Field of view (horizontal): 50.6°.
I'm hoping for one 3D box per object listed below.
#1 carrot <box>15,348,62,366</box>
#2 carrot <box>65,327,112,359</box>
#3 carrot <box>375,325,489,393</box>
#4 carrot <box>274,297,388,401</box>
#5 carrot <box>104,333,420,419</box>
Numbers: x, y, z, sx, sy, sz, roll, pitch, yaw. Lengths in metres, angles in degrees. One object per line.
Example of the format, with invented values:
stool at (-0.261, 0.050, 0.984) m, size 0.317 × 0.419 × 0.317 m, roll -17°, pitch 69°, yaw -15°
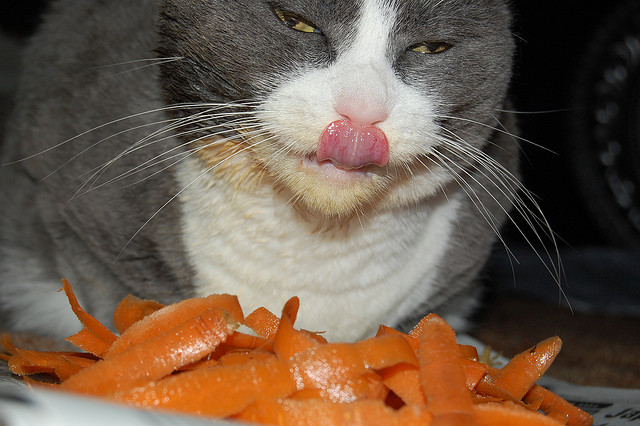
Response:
carrot at (-0.436, 0.224, 1.055) m, size 0.048 × 0.014 × 0.030 m, roll 26°, pitch 23°, yaw 11°
carrot at (-0.374, 0.205, 1.089) m, size 0.064 × 0.046 × 0.023 m, roll 40°, pitch -21°, yaw -18°
carrot at (0.204, 0.216, 1.093) m, size 0.124 × 0.045 × 0.120 m, roll 24°, pitch -6°, yaw 6°
carrot at (0.003, 0.230, 1.049) m, size 0.188 × 0.179 × 0.071 m, roll 13°, pitch -53°, yaw -39°
carrot at (-0.078, 0.225, 0.990) m, size 0.428 × 0.158 × 0.101 m, roll 13°, pitch -15°, yaw -11°
